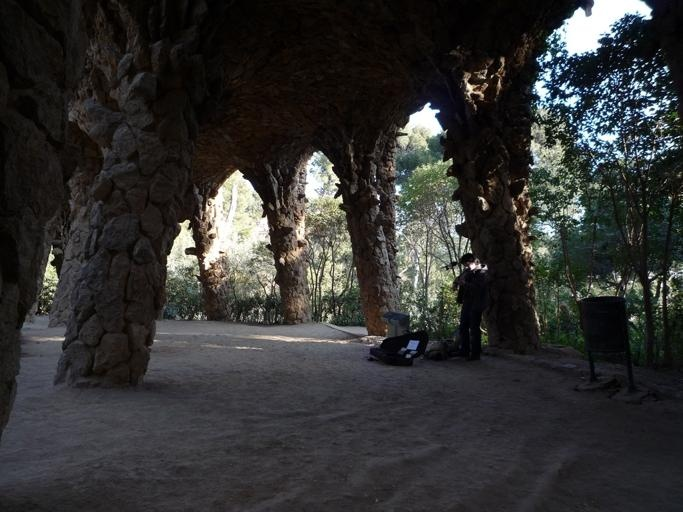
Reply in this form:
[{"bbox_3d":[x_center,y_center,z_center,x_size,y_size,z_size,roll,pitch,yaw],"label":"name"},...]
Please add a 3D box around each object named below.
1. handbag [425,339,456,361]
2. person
[{"bbox_3d":[1.807,1.667,7.661,0.484,0.179,0.300,-11,-13,-17],"label":"handbag"},{"bbox_3d":[2.306,0.878,7.651,0.568,1.857,0.664,1,-1,18],"label":"person"}]
